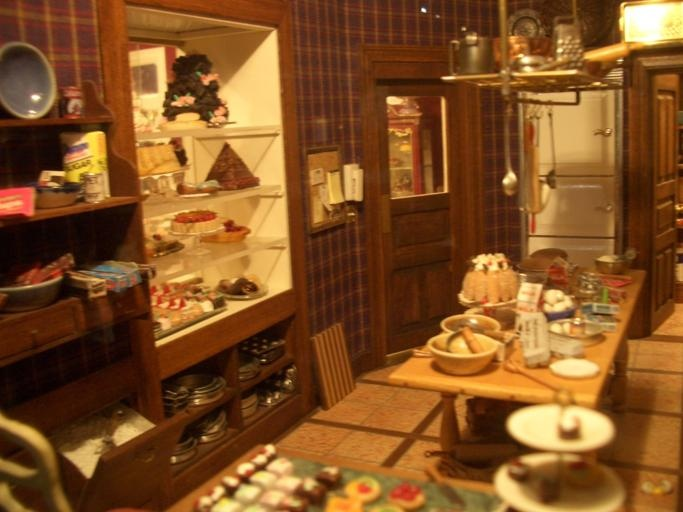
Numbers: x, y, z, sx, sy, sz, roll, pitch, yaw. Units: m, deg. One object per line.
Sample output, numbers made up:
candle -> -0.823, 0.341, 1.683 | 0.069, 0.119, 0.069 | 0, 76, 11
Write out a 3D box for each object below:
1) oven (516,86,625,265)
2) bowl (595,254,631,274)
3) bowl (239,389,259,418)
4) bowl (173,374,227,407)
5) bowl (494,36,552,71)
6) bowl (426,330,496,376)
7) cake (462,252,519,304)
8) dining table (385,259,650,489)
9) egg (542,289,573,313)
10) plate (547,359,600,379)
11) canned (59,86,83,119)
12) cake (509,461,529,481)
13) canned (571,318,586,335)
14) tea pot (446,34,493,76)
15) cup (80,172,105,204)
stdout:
oven -> 2.468, -0.789, 5.582 | 0.853, 1.791, 0.429 | -1, 17, 18
bowl -> 2.004, 0.062, 3.936 | 0.219, 0.069, 0.170 | 0, 4, 29
bowl -> -0.667, 1.094, 3.883 | 0.197, 0.097, 0.160 | 0, 3, -2
bowl -> -0.917, 0.876, 3.432 | 0.455, 0.099, 0.369 | 0, 6, -2
bowl -> 0.774, -0.869, 2.384 | 0.285, 0.122, 0.236 | 2, 12, 11
bowl -> 0.586, 0.455, 2.557 | 0.348, 0.165, 0.336 | -4, 12, 1
cake -> 0.874, 0.122, 3.060 | 0.360, 0.184, 0.321 | 3, 9, 26
dining table -> 0.974, 0.663, 2.955 | 0.814, 0.404, 1.765 | 2, 7, 27
egg -> 1.198, 0.247, 2.958 | 0.170, 0.063, 0.147 | -1, 7, 5
plate -> 1.059, 0.517, 2.429 | 0.193, 0.039, 0.182 | -8, 12, -22
canned -> -1.229, -0.695, 2.414 | 0.102, 0.136, 0.121 | -12, 16, -24
cake -> 0.476, 0.581, 1.429 | 0.044, 0.031, 0.037 | 7, 28, 24
canned -> 1.207, 0.372, 2.733 | 0.091, 0.067, 0.074 | 0, -1, 1
tea pot -> 0.569, -0.878, 2.335 | 0.189, 0.192, 0.266 | -2, 13, 11
cup -> -1.124, -0.308, 2.414 | 0.084, 0.132, 0.104 | -2, 15, 13
